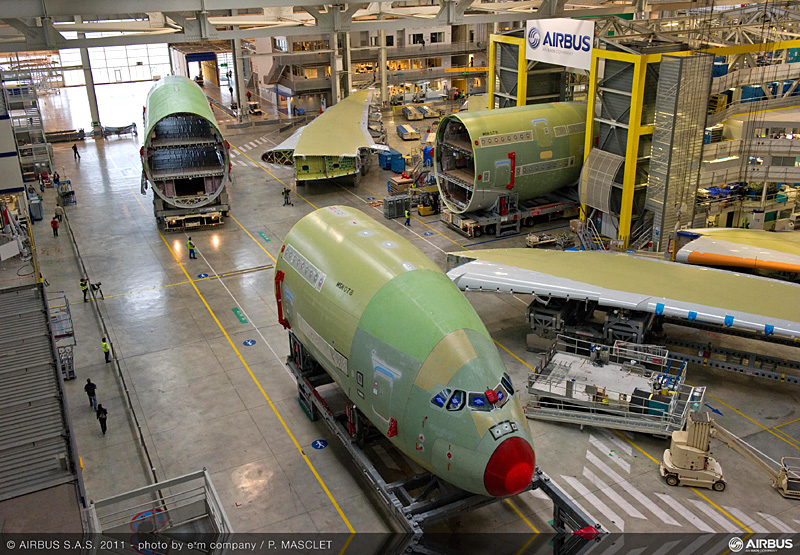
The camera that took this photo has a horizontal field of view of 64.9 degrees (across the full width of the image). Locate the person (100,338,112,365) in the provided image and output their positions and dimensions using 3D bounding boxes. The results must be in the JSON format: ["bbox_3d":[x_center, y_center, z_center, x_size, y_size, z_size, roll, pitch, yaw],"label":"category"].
[{"bbox_3d":[-19.619,4.860,42.254,0.515,1.505,1.002,-8,23,-18],"label":"person"}]

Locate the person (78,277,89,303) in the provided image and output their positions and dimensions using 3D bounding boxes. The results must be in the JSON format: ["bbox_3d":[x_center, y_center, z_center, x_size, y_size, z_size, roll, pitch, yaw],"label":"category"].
[{"bbox_3d":[-24.645,0.936,49.298,0.534,1.594,1.299,-10,24,-23],"label":"person"}]
